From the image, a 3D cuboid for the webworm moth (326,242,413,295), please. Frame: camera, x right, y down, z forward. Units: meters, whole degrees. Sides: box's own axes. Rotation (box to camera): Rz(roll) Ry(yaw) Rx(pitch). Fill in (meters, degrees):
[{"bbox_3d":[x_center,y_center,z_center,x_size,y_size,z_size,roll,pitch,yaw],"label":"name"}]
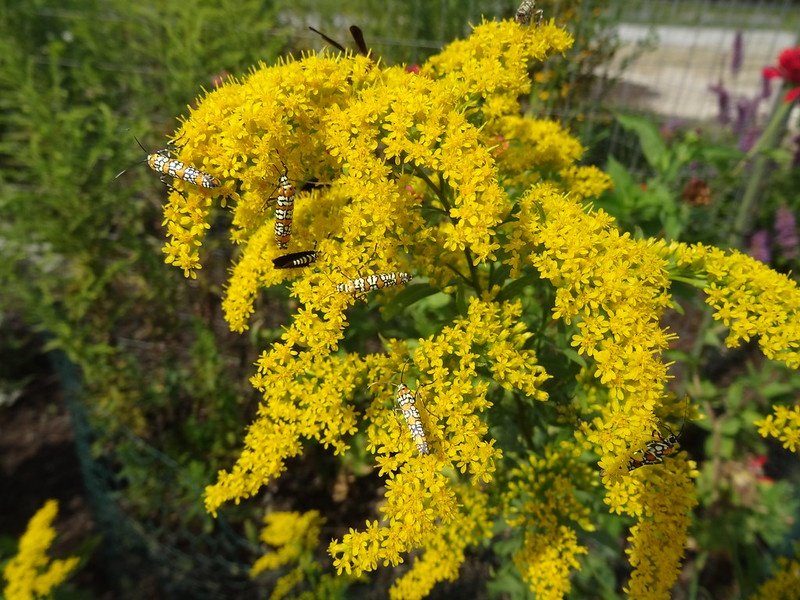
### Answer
[{"bbox_3d":[-0.198,-0.184,5.168,0.546,0.171,0.158,-9,42,-14],"label":"webworm moth"}]
